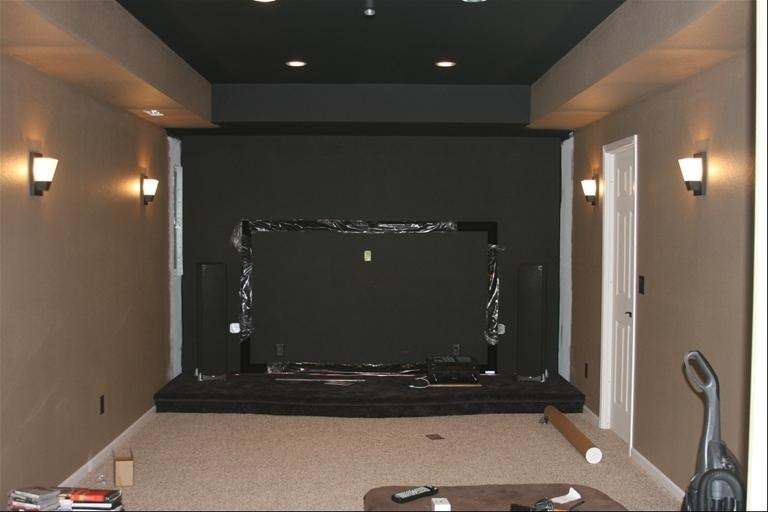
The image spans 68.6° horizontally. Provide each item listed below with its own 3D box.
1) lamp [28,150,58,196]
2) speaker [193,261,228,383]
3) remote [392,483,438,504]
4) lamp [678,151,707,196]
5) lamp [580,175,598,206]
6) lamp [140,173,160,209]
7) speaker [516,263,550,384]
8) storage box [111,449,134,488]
[{"bbox_3d":[-2.602,-0.629,4.306,0.173,0.331,0.184,0,11,0],"label":"lamp"},{"bbox_3d":[-1.997,0.755,6.677,0.510,1.370,0.345,0,1,-32],"label":"speaker"},{"bbox_3d":[0.193,1.547,3.665,0.223,0.043,0.105,-3,4,-29],"label":"remote"},{"bbox_3d":[2.384,-0.635,4.341,0.189,0.317,0.181,1,8,24],"label":"lamp"},{"bbox_3d":[2.187,-0.697,6.010,0.143,0.304,0.293,1,11,6],"label":"lamp"},{"bbox_3d":[-2.496,-0.697,5.964,0.145,0.320,0.276,-2,11,-11],"label":"lamp"},{"bbox_3d":[1.781,0.863,6.723,0.356,1.549,0.505,-5,-33,23],"label":"speaker"},{"bbox_3d":[-2.123,1.735,4.537,0.150,0.368,0.282,-6,13,-28],"label":"storage box"}]
